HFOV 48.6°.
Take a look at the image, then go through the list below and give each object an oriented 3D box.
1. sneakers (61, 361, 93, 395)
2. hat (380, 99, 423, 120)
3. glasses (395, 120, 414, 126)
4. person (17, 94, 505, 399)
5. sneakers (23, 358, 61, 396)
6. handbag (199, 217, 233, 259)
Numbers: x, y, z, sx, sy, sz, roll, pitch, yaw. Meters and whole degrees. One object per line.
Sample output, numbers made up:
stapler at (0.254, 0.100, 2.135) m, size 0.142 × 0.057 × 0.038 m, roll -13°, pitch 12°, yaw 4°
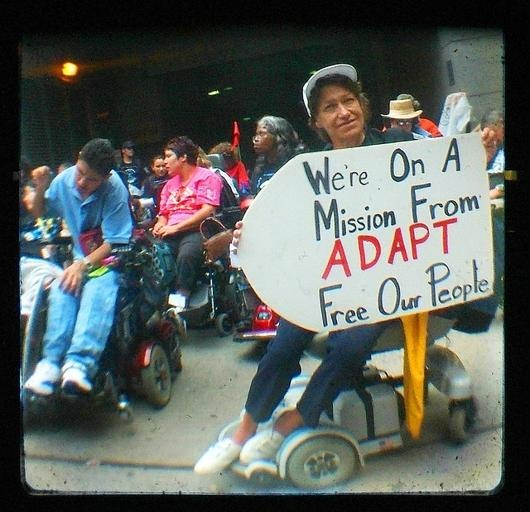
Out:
sneakers at (-0.991, 0.645, 3.082) m, size 0.104 × 0.205 × 0.077 m, roll -9°, pitch 7°, yaw 9°
hat at (0.692, -0.733, 2.949) m, size 0.198 × 0.104 × 0.027 m, roll -8°, pitch 6°, yaw -10°
glasses at (0.703, -0.667, 2.955) m, size 0.082 × 0.034 × 0.013 m, roll -8°, pitch 6°, yaw -8°
person at (0.344, -0.078, 3.344) m, size 1.759 × 0.940 × 1.351 m, roll 0°, pitch 0°, yaw 2°
sneakers at (-1.163, 0.661, 3.122) m, size 0.175 × 0.189 × 0.084 m, roll 30°, pitch 4°, yaw 7°
handbag at (-0.246, -0.084, 2.991) m, size 0.124 × 0.155 × 0.069 m, roll -30°, pitch 10°, yaw 5°
